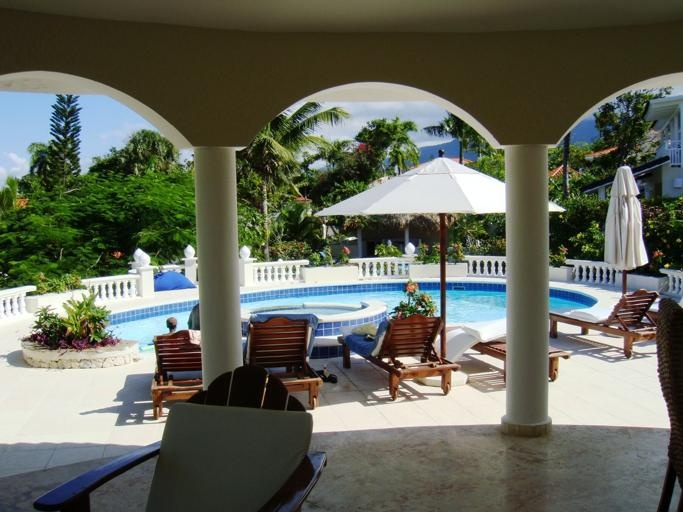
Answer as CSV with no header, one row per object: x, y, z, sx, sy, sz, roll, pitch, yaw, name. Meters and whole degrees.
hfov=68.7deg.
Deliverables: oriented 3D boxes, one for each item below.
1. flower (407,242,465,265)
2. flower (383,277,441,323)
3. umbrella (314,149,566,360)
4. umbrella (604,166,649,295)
3.755,-0.010,19.296,1.421,0.832,1.494,-2,5,8,flower
1.161,0.733,7.988,0.693,0.760,0.714,-2,-24,3,flower
1.381,0.154,7.043,2.569,2.240,2.850,3,6,26,umbrella
5.086,-0.649,8.936,0.628,1.837,0.446,1,6,24,umbrella
